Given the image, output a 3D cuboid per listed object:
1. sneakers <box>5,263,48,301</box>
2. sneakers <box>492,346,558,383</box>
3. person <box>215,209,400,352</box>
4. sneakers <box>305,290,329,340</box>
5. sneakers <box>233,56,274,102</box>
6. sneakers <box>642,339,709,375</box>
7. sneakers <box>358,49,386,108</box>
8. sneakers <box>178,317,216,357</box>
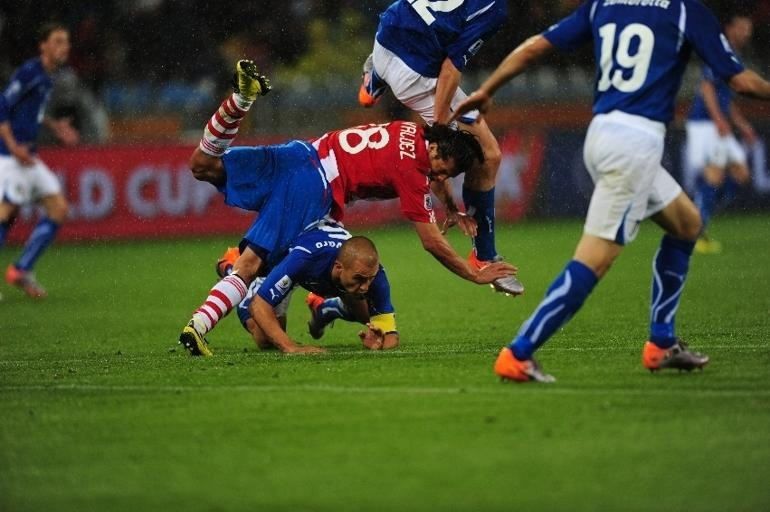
[{"bbox_3d":[-3.694,0.287,10.035,0.359,0.170,0.132,35,23,-37],"label":"sneakers"},{"bbox_3d":[0.944,0.741,6.620,0.393,0.203,0.198,0,7,2],"label":"sneakers"},{"bbox_3d":[-0.613,0.222,7.712,0.940,0.777,1.256,4,1,-40],"label":"person"},{"bbox_3d":[-0.572,0.536,8.247,0.174,0.413,0.147,13,27,27],"label":"sneakers"},{"bbox_3d":[-1.069,-1.363,7.670,0.352,0.268,0.156,42,-2,-29],"label":"sneakers"},{"bbox_3d":[2.011,0.702,6.888,0.508,0.283,0.192,1,-7,-2],"label":"sneakers"},{"bbox_3d":[-0.115,-1.549,8.602,0.248,0.462,0.142,12,1,21],"label":"sneakers"},{"bbox_3d":[-1.454,0.637,7.467,0.249,0.300,0.251,-4,11,-9],"label":"sneakers"}]
